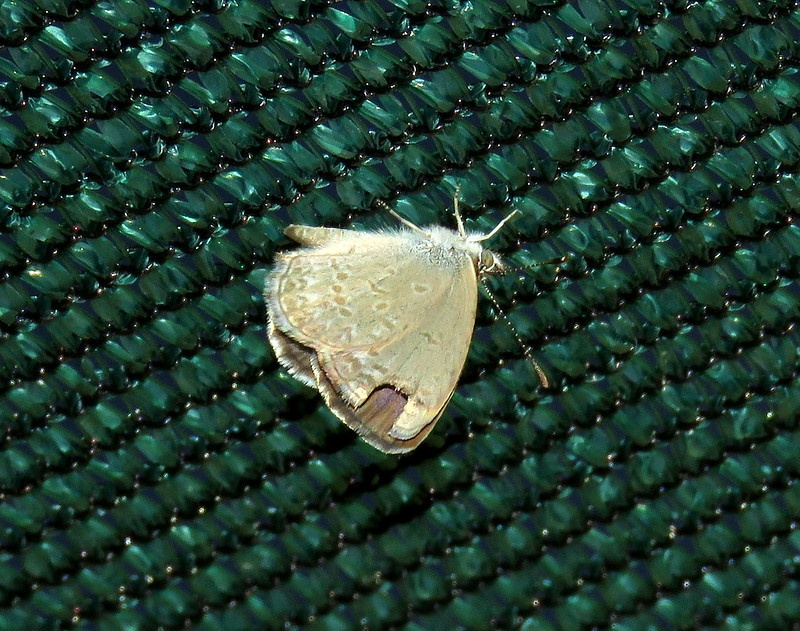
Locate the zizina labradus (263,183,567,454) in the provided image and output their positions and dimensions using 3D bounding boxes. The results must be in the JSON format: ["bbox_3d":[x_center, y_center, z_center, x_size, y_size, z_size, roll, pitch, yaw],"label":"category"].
[{"bbox_3d":[0.011,0.018,2.031,0.395,0.446,0.316,-9,70,-6],"label":"zizina labradus"}]
